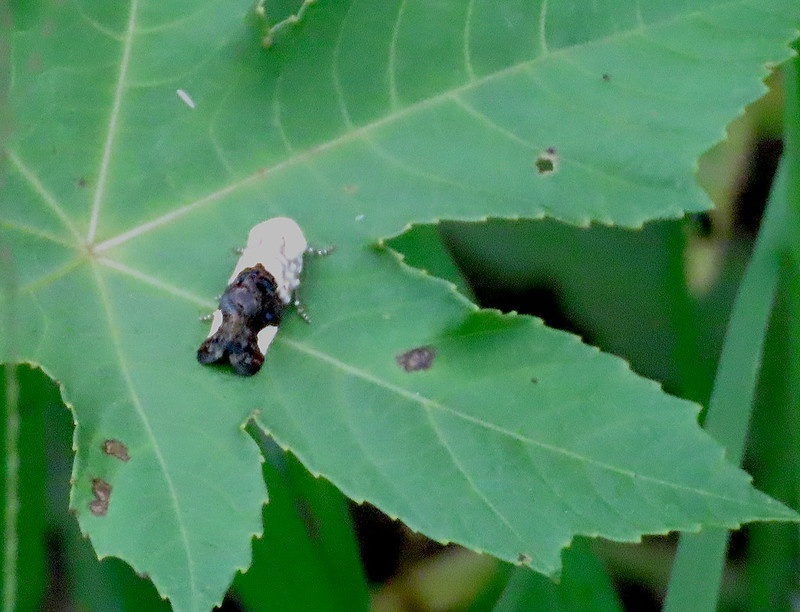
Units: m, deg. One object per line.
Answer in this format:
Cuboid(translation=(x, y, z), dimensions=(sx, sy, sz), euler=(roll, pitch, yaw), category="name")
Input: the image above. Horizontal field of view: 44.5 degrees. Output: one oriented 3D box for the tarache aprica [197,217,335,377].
Cuboid(translation=(-0.557, -0.033, 3.904), dimensions=(0.365, 0.628, 0.183), euler=(21, -27, 4), category="tarache aprica")
